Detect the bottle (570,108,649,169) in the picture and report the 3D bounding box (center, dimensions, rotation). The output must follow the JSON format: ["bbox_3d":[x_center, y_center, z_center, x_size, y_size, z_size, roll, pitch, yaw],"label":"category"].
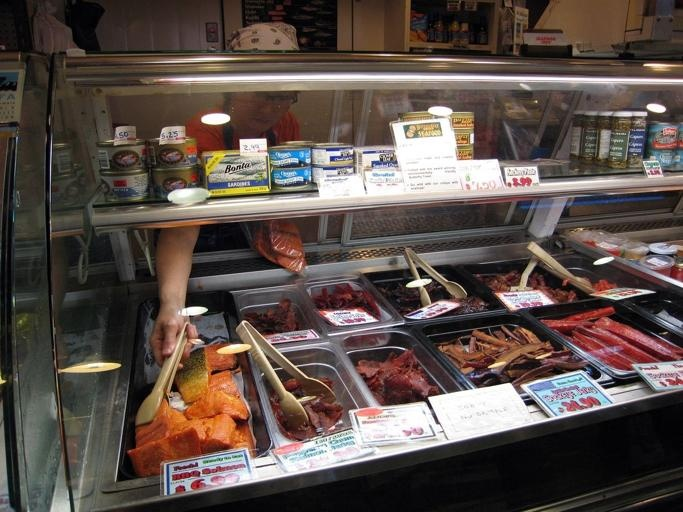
[{"bbox_3d":[1.061,-0.457,1.797,0.301,0.203,0.172,9,13,43],"label":"bottle"}]

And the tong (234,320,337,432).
[{"bbox_3d":[-0.242,0.394,1.564,0.413,0.114,0.199,38,43,22],"label":"tong"}]

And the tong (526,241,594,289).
[{"bbox_3d":[1.007,0.039,2.176,0.369,0.103,0.068,39,20,20],"label":"tong"}]
